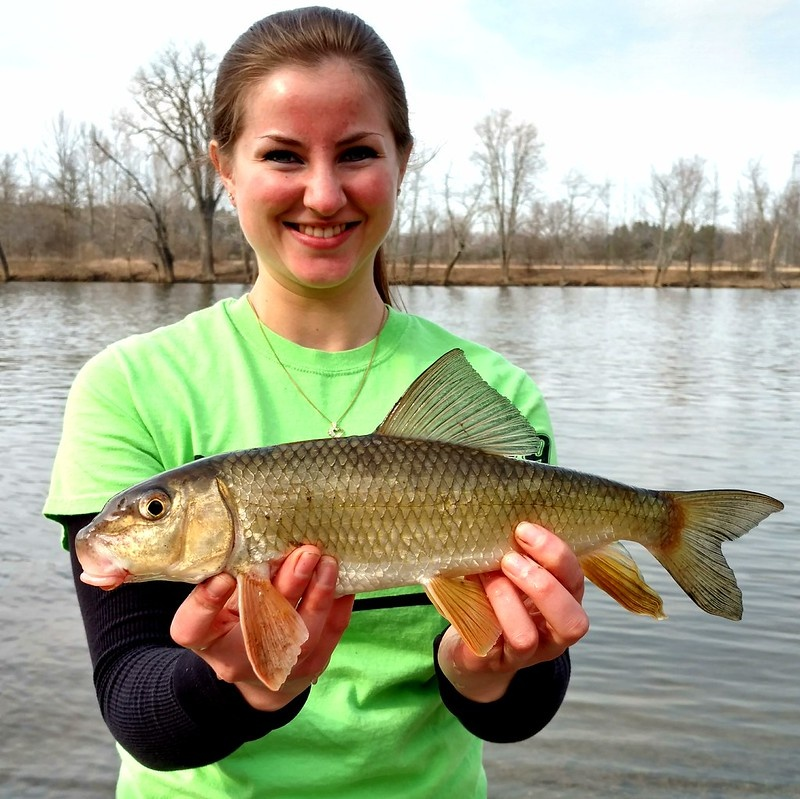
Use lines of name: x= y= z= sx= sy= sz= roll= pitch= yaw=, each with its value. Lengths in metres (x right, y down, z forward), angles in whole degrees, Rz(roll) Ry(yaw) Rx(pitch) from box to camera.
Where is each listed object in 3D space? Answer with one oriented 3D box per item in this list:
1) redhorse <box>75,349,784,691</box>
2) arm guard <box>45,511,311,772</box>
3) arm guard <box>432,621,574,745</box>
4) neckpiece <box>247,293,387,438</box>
redhorse: x=0.105 y=0.328 z=2.240 sx=1.877 sy=0.549 sz=0.401 roll=1 pitch=-11 yaw=-11
arm guard: x=-0.571 y=0.617 z=2.493 sx=0.774 sy=0.716 sz=0.267 roll=-8 pitch=14 yaw=17
arm guard: x=0.377 y=0.918 z=2.655 sx=0.497 sy=0.369 sz=0.288 roll=-8 pitch=-36 yaw=-5
neckpiece: x=-0.216 y=-0.070 z=2.693 sx=0.495 sy=0.378 sz=0.071 roll=-12 pitch=-17 yaw=38
